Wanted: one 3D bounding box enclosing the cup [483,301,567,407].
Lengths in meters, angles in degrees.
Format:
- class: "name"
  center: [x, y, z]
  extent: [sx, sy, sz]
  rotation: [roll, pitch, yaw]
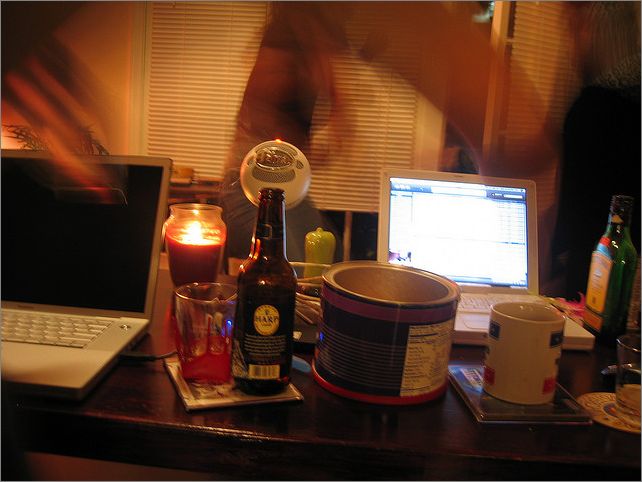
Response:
- class: "cup"
  center: [0.395, 0.230, 1.080]
  extent: [0.150, 0.150, 0.132]
  rotation: [6, -1, 20]
